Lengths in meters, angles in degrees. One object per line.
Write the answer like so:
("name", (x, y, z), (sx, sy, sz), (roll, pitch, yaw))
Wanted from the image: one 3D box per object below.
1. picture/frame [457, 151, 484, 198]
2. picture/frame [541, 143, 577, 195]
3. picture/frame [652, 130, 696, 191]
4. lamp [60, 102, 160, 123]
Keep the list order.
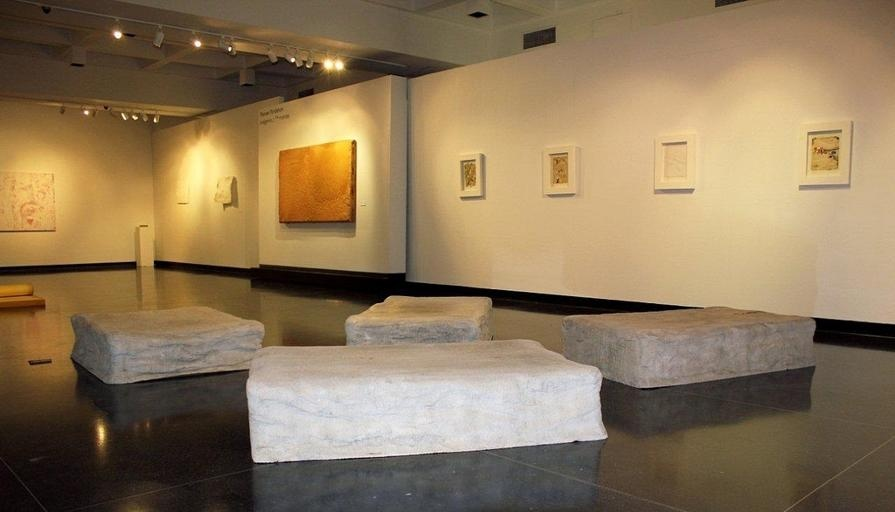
("picture/frame", (0.498, -1.624, 11.997), (0.690, 0.922, 0.194), (10, 16, 42))
("picture/frame", (2.047, -1.564, 10.792), (0.746, 0.907, 0.212), (10, 16, 43))
("picture/frame", (3.712, -1.542, 9.731), (0.814, 0.872, 0.110), (-7, 12, -19))
("lamp", (-10.630, -4.483, 18.366), (3.546, 0.401, 0.317), (8, 35, 29))
